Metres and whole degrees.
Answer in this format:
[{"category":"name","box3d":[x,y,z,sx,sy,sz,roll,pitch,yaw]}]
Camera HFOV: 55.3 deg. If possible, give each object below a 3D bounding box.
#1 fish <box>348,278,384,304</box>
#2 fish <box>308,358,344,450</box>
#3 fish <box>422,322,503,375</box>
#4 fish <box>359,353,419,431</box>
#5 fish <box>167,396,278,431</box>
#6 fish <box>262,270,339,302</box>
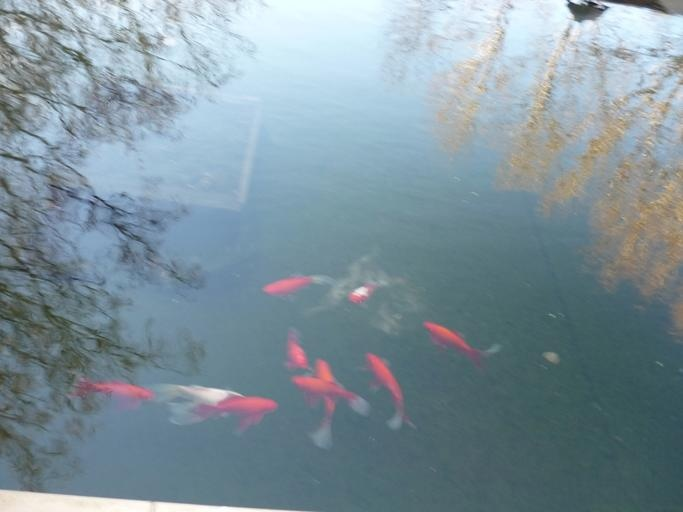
[{"category":"fish","box3d":[0.301,0.465,8.699,0.229,0.092,0.557,34,46,26]},{"category":"fish","box3d":[-0.202,1.764,7.684,0.299,0.323,0.846,10,75,-29]},{"category":"fish","box3d":[1.486,1.193,8.178,0.805,0.374,0.144,24,32,7]},{"category":"fish","box3d":[0.571,1.605,7.780,0.375,0.244,0.931,-5,64,-24]},{"category":"fish","box3d":[-1.372,1.836,7.481,1.128,0.580,0.260,-2,8,-7]},{"category":"fish","box3d":[-0.585,0.418,8.588,0.671,0.295,0.132,-9,53,-17]}]
